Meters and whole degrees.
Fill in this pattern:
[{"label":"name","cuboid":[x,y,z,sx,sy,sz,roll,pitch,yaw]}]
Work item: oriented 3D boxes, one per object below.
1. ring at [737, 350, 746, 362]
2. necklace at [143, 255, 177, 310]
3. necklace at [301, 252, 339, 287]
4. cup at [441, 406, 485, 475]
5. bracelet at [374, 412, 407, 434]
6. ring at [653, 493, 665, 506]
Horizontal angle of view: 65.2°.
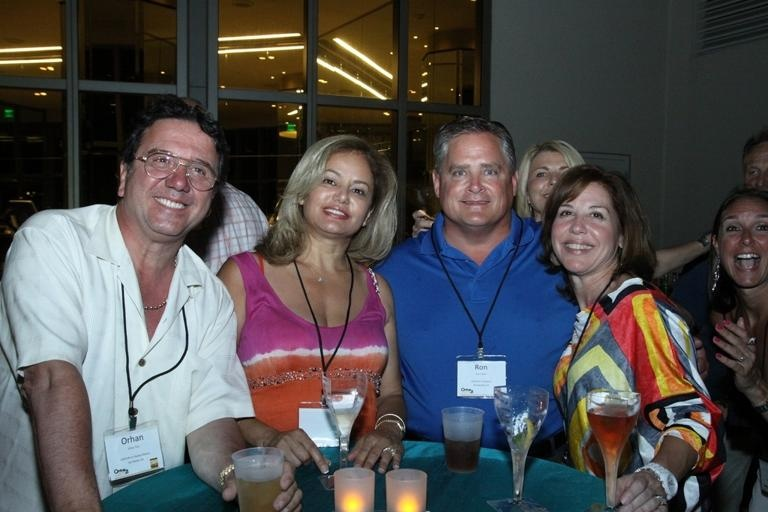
[{"label":"ring","cuboid":[2.044,0.570,3.437,0.064,0.032,0.088,-2,1,31]},{"label":"necklace","cuboid":[-1.119,0.144,2.989,0.144,0.253,0.051,14,-29,-11]},{"label":"necklace","cuboid":[-0.383,0.087,3.612,0.237,0.178,0.068,-3,-8,-27]},{"label":"cup","cuboid":[0.394,0.862,2.838,0.251,0.290,0.253,0,-5,0]},{"label":"bracelet","cuboid":[0.039,0.912,3.232,0.160,0.093,0.165,-1,5,-1]},{"label":"ring","cuboid":[1.167,1.034,2.533,0.052,0.039,0.019,6,13,2]}]
